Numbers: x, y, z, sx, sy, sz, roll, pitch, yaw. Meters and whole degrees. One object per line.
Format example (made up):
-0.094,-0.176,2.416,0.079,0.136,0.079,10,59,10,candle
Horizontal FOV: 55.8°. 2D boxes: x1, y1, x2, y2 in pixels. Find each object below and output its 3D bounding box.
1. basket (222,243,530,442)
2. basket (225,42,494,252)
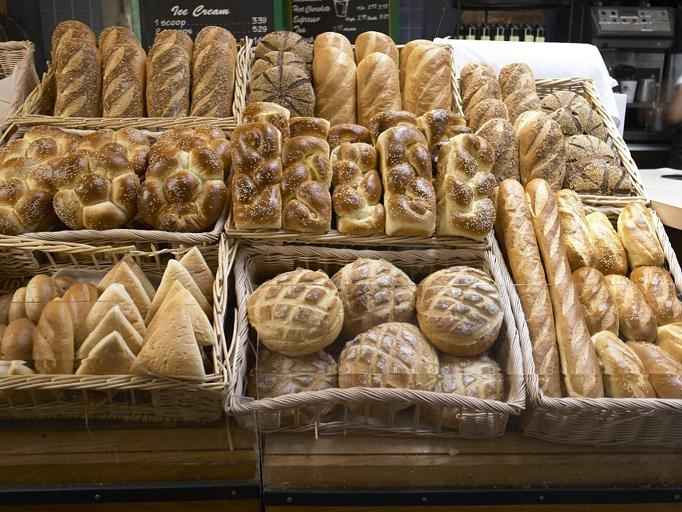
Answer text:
0.097,0.247,2.134,0.932,0.471,0.601,-1,19,-2,basket
0.059,-0.385,2.073,0.735,0.580,0.211,2,-26,0,basket
